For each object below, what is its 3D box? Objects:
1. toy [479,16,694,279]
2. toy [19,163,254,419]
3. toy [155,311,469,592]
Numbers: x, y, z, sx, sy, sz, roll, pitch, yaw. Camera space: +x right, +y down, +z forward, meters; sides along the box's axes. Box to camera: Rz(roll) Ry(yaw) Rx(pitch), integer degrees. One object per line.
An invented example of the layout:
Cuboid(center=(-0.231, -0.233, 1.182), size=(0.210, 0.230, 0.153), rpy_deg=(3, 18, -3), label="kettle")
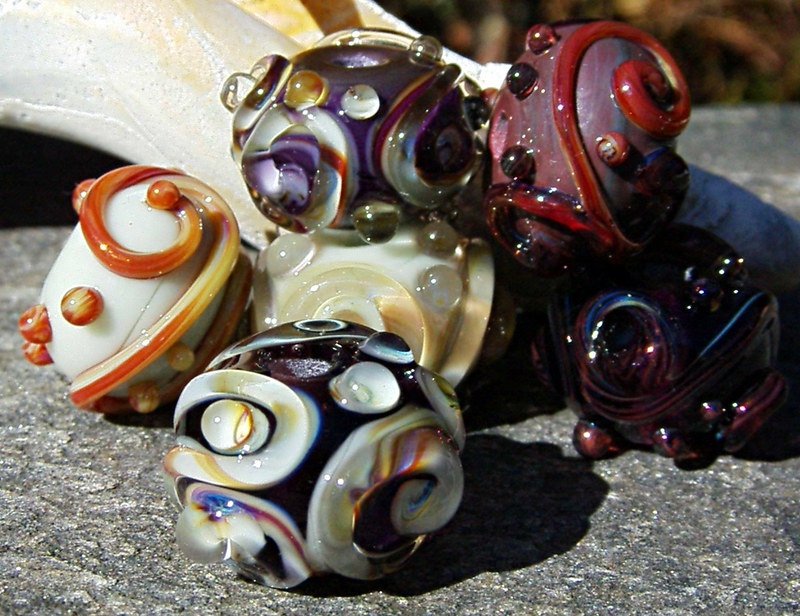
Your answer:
Cuboid(center=(0.278, -0.282, 1.883), size=(0.307, 0.418, 0.380), rpy_deg=(2, 26, -3), label="toy")
Cuboid(center=(-0.484, 0.047, 1.885), size=(0.235, 0.278, 0.293), rpy_deg=(-24, 43, -10), label="toy")
Cuboid(center=(-0.140, 0.219, 1.647), size=(0.398, 0.344, 0.363), rpy_deg=(-9, 40, -30), label="toy")
